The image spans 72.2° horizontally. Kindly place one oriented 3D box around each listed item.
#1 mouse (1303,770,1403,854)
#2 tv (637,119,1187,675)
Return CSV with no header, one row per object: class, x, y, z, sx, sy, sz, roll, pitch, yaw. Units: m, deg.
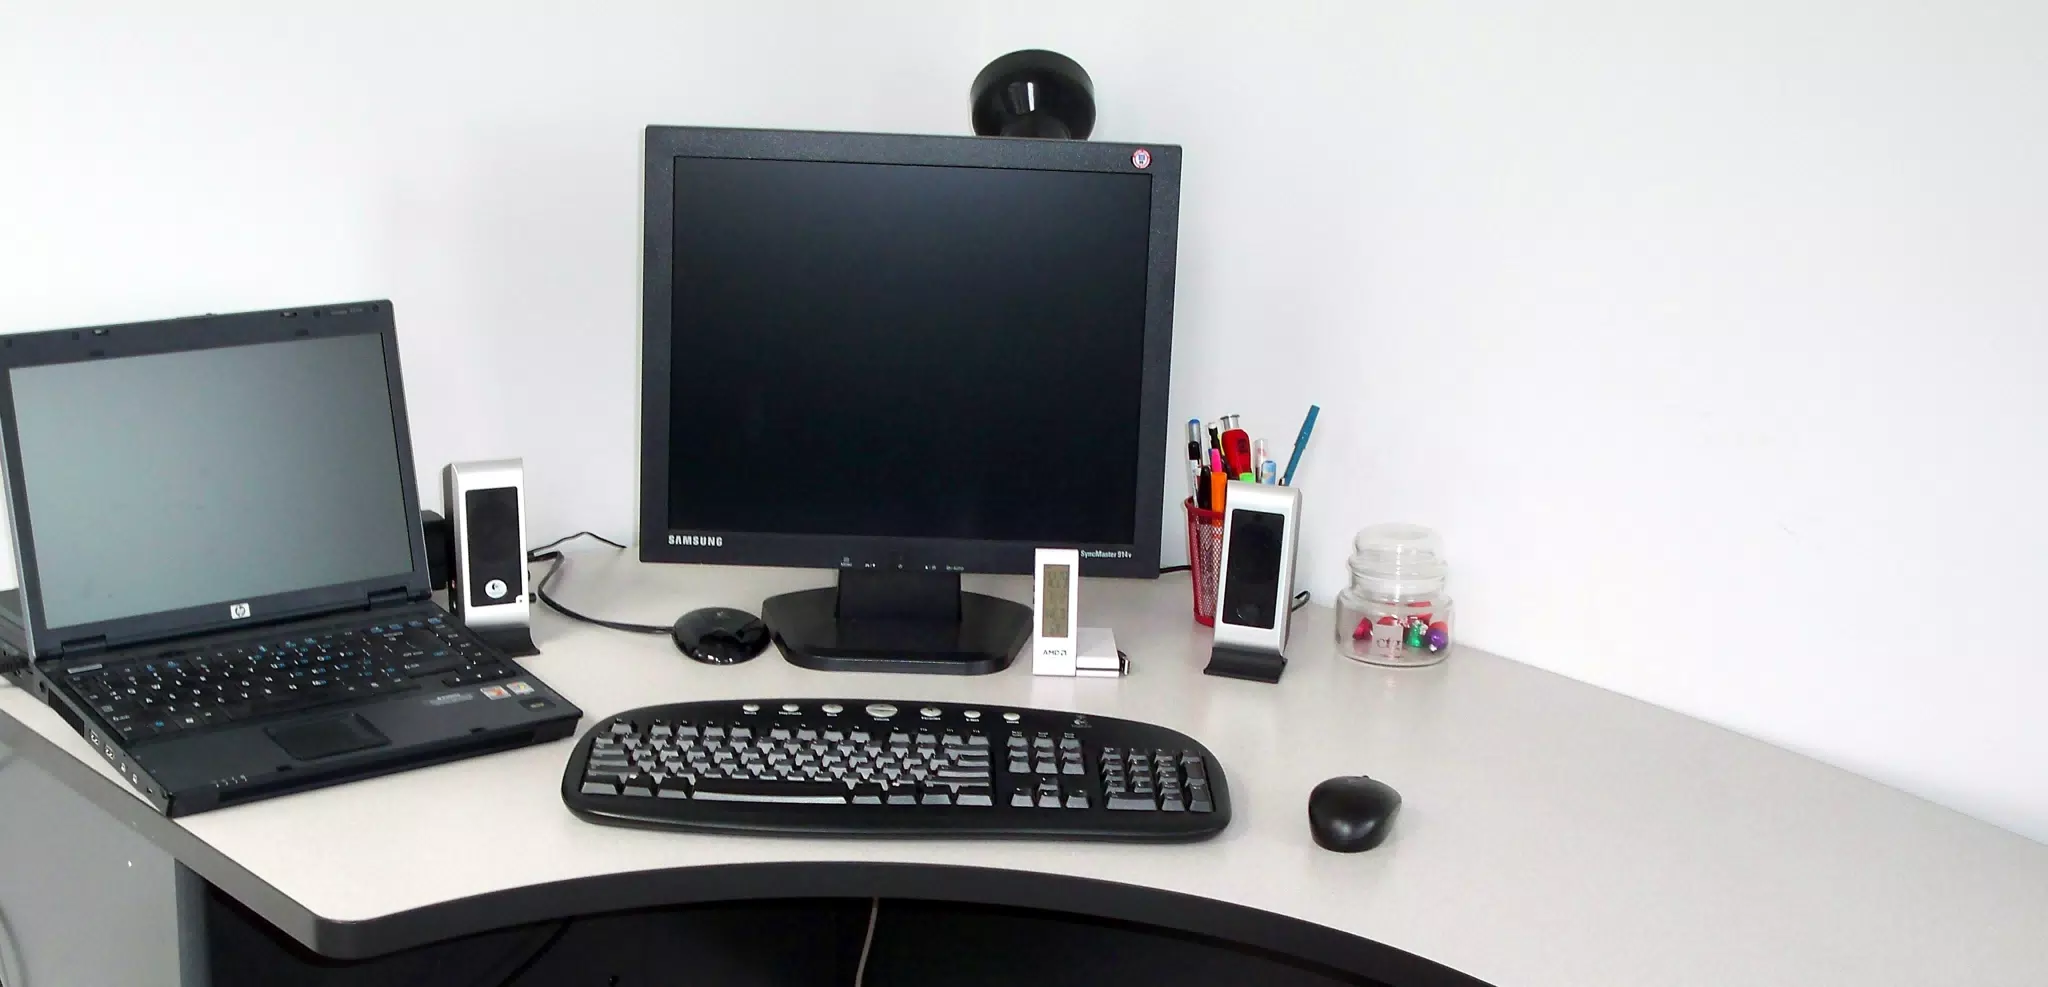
mouse,0.447,0.436,1.921,0.111,0.086,0.089,-11,17,-43
tv,-0.193,-0.157,2.244,1.043,0.808,0.335,3,8,-3
